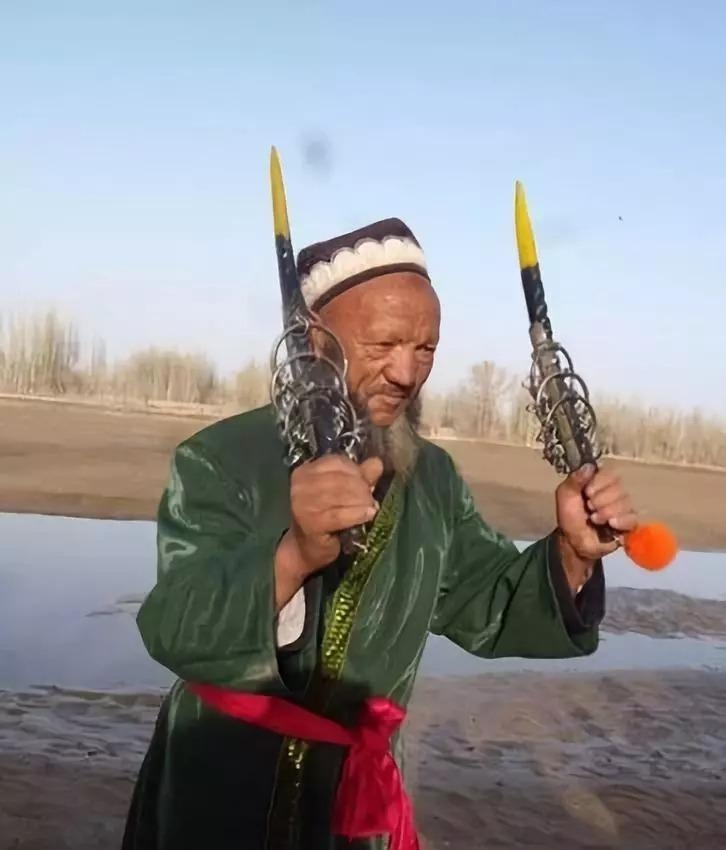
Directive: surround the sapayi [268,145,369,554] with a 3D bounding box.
[{"bbox_3d":[-0.153,-0.212,2.002,0.188,1.034,0.190,-4,-40,-8],"label":"sapayi"}]
